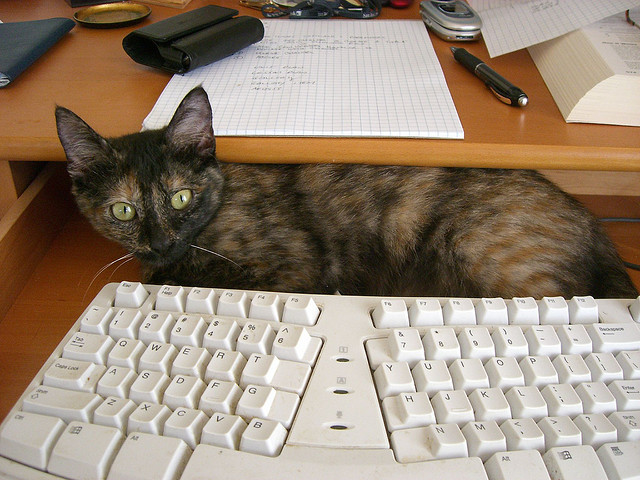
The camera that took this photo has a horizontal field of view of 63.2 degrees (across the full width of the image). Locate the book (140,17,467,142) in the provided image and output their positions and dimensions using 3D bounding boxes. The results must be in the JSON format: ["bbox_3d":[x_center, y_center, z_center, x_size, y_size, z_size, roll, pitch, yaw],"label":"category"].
[{"bbox_3d":[-0.022,-0.334,1.035,0.567,0.032,0.435,1,48,2],"label":"book"}]

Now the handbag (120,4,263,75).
[{"bbox_3d":[-0.250,-0.408,1.042,0.221,0.055,0.175,-30,42,-34],"label":"handbag"}]
